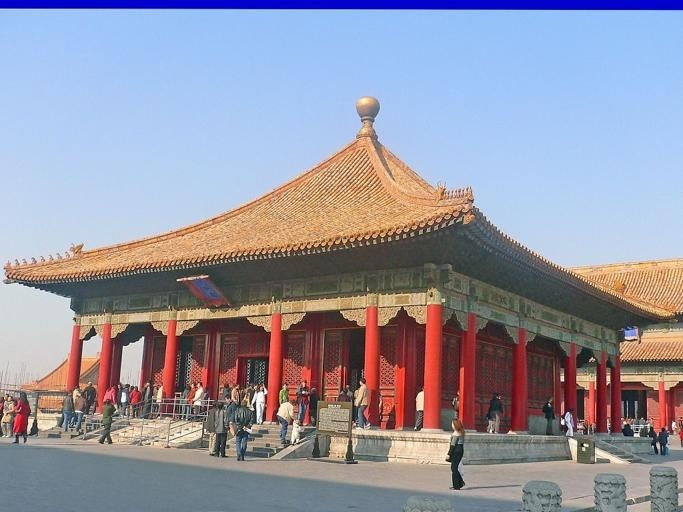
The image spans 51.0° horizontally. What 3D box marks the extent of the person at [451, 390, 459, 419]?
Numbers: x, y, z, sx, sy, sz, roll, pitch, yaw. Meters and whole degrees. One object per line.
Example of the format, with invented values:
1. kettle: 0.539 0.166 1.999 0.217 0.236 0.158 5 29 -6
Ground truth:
1. person: 3.749 4.861 23.523 0.218 0.894 0.677 -2 -15 13

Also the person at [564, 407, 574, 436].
1. person: 8.787 6.360 27.532 0.359 0.999 1.052 -3 -16 18

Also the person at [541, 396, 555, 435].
1. person: 7.814 6.000 26.862 0.360 1.405 2.438 -3 -15 16

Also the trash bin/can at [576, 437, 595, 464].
1. trash bin/can: 7.826 6.208 22.824 0.553 0.804 0.564 -2 -15 13
